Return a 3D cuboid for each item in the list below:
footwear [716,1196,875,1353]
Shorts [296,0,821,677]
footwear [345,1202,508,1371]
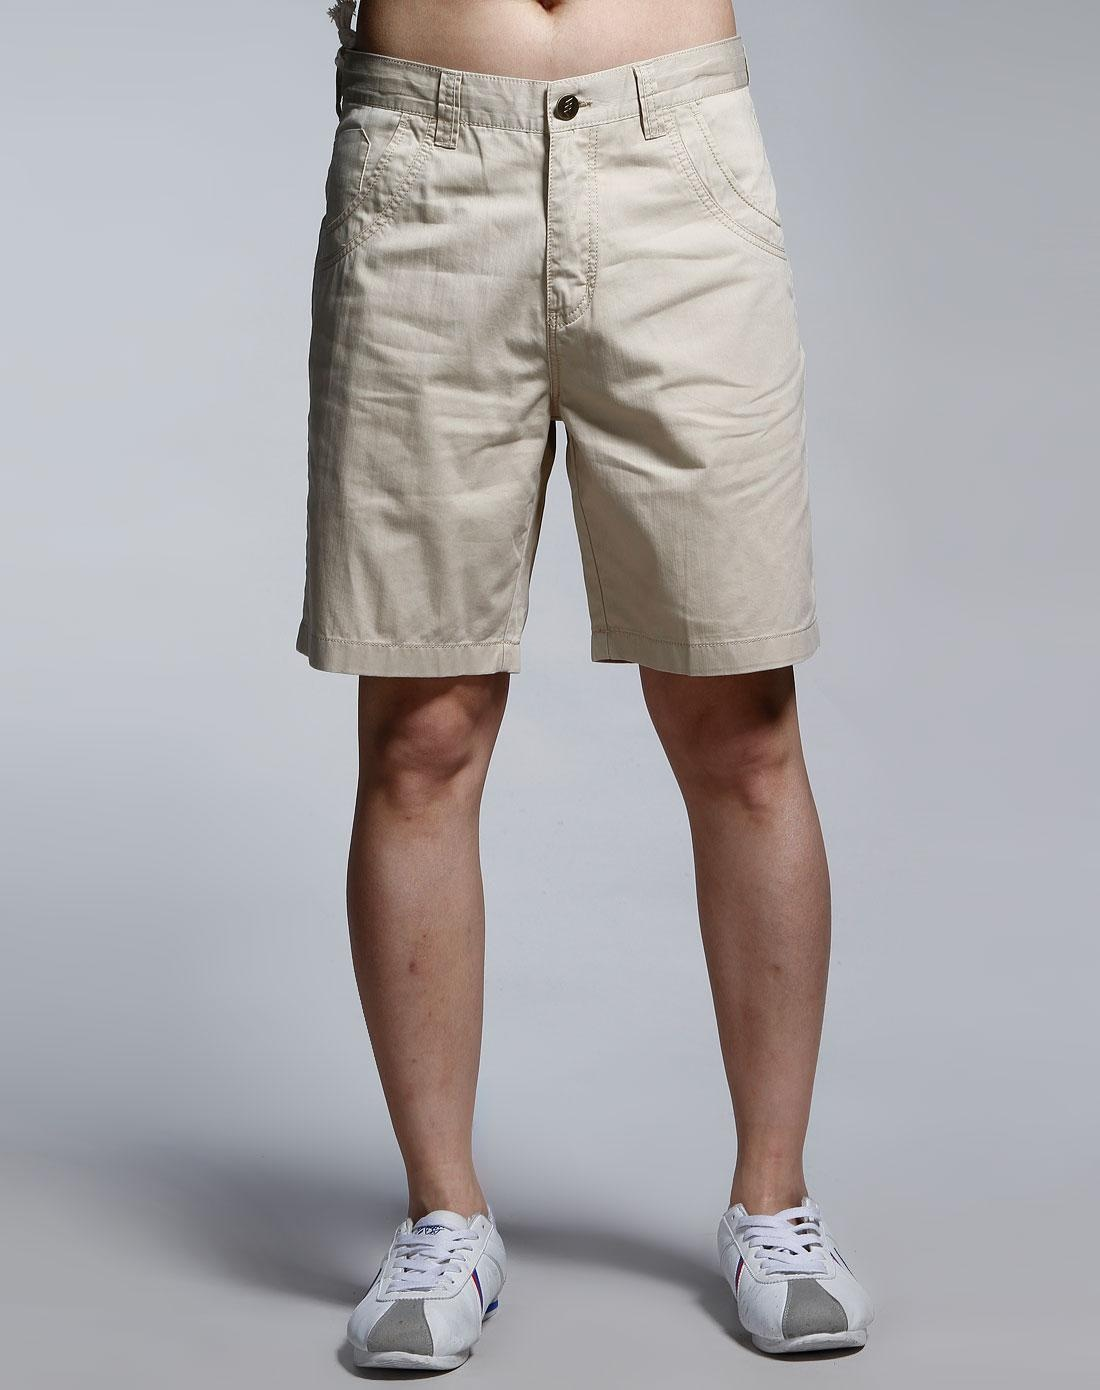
[{"bbox_3d":[0.175,0.402,1.054,0.089,0.066,0.172,-3,0,-4],"label":"footwear"},{"bbox_3d":[0.003,-0.218,0.977,0.320,0.411,0.142,-4,5,-17],"label":"Shorts"},{"bbox_3d":[-0.087,0.415,1.059,0.085,0.078,0.208,1,-4,6],"label":"footwear"}]
